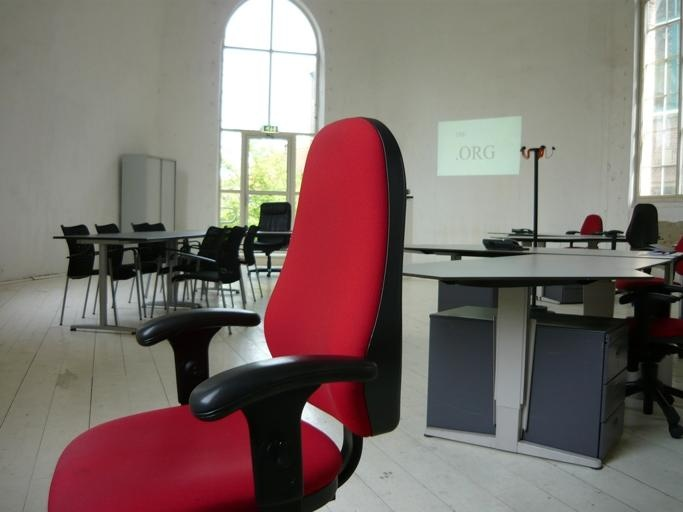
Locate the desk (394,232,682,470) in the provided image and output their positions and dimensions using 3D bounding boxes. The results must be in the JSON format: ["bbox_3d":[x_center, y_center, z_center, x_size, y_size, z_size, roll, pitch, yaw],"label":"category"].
[{"bbox_3d":[1.001,0.539,2.895,1.044,0.771,1.422,1,5,31],"label":"desk"}]
